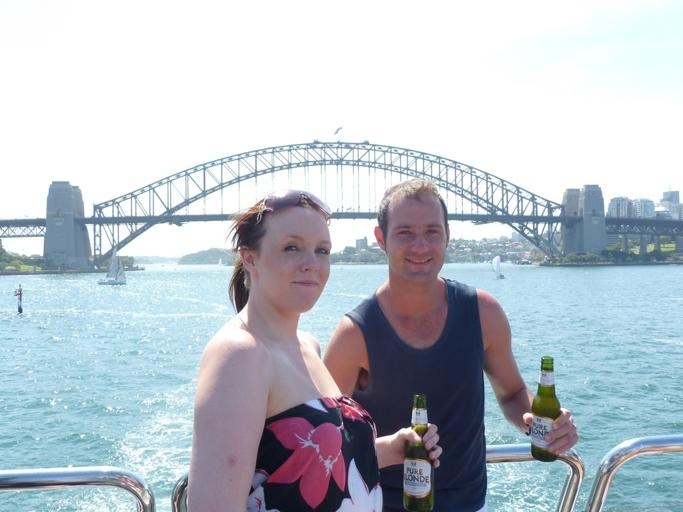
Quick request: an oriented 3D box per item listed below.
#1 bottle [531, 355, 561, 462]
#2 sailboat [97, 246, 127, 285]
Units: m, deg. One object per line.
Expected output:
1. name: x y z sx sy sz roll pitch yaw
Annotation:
1. bottle: 1.815 1.348 6.813 0.265 0.926 0.292 0 3 15
2. sailboat: -16.694 0.942 56.792 1.135 2.377 3.462 -1 3 1
